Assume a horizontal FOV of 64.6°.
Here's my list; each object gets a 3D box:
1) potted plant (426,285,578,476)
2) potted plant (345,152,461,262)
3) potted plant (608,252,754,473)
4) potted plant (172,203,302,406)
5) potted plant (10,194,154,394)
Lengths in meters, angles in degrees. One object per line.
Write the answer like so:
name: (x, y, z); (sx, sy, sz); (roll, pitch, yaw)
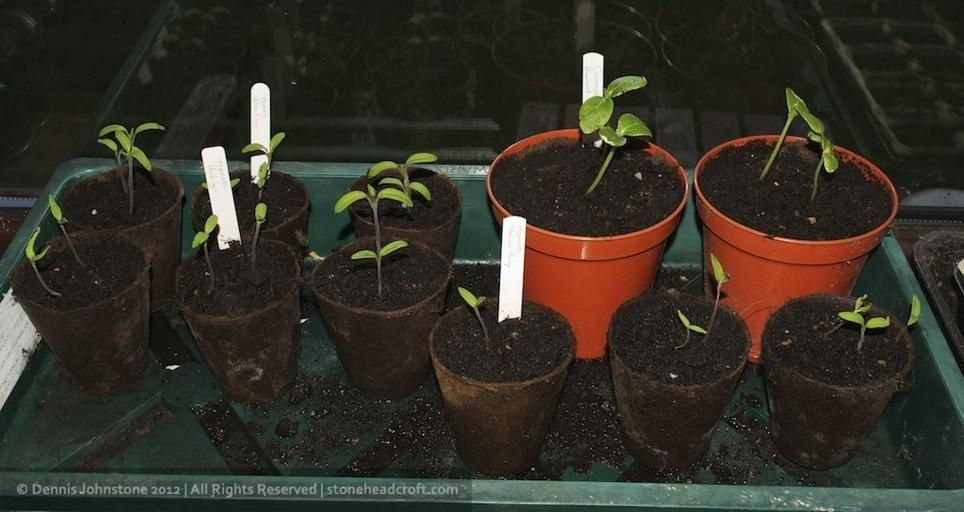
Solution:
potted plant: (0.107, 0.724, 4.548); (0.980, 0.954, 0.801); (-8, 33, -20)
potted plant: (-0.448, -0.407, 4.932); (0.721, 0.717, 0.753); (-7, 39, -9)
potted plant: (1.148, 0.661, 4.438); (0.794, 1.065, 0.825); (12, 36, 14)
potted plant: (-1.413, 0.343, 4.695); (0.738, 0.881, 0.788); (-15, 44, -12)
potted plant: (-2.427, 0.278, 4.648); (0.834, 1.004, 0.709); (-28, 49, -31)
